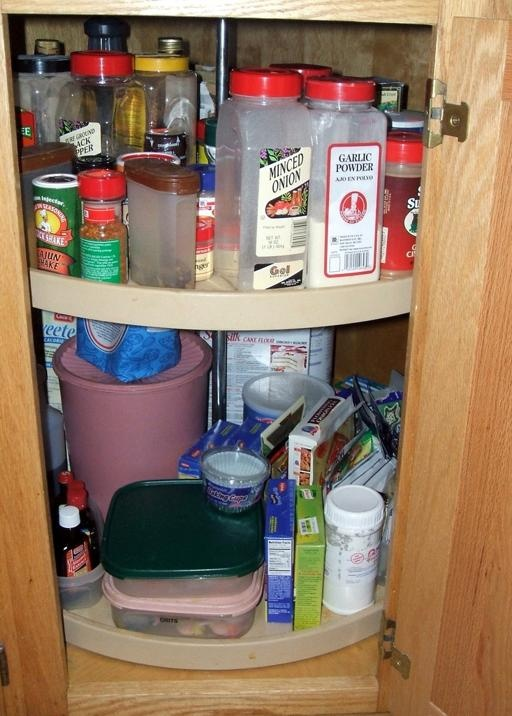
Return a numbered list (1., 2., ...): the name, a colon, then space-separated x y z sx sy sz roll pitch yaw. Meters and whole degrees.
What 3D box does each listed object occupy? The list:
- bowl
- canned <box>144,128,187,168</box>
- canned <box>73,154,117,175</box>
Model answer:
1. bowl: -0.034 0.178 0.935 0.090 0.055 0.092 10 28 -5
2. canned: -0.122 -0.292 0.856 0.054 0.052 0.055 1 24 -8
3. canned: -0.195 -0.233 0.764 0.045 0.030 0.045 -2 33 -8
